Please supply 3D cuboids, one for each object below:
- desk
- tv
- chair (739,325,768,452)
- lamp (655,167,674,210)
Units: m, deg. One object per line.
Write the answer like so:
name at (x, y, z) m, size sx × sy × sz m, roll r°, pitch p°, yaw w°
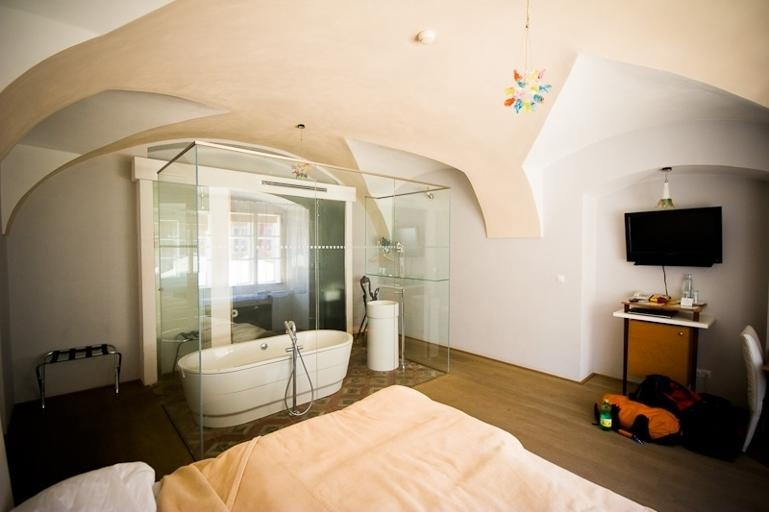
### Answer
desk at (3.382, 1.011, 6.325) m, size 1.140 × 1.212 × 0.952 m, roll -1°, pitch -3°, yaw 41°
tv at (3.553, -0.246, 6.162) m, size 0.765 × 0.536 × 0.081 m, roll 2°, pitch 7°, yaw 36°
chair at (3.833, 1.393, 5.317) m, size 0.289 × 1.227 × 0.473 m, roll 9°, pitch 17°, yaw 35°
lamp at (3.429, -0.826, 6.164) m, size 0.190 × 0.510 × 0.429 m, roll 6°, pitch 16°, yaw 28°
